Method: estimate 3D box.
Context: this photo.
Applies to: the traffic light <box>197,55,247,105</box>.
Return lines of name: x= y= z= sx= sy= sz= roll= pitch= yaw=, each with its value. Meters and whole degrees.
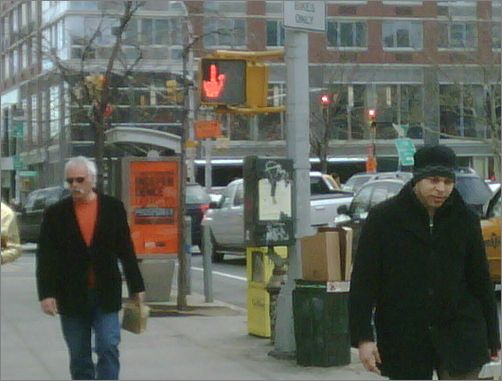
traffic light: x=-0.391 y=-1.570 z=16.032 sx=0.624 sy=0.665 sz=0.247 roll=3 pitch=5 yaw=15

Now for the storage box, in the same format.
storage box: x=0.895 y=0.812 z=14.496 sx=0.499 sy=0.677 sz=0.462 roll=-7 pitch=5 yaw=-38
